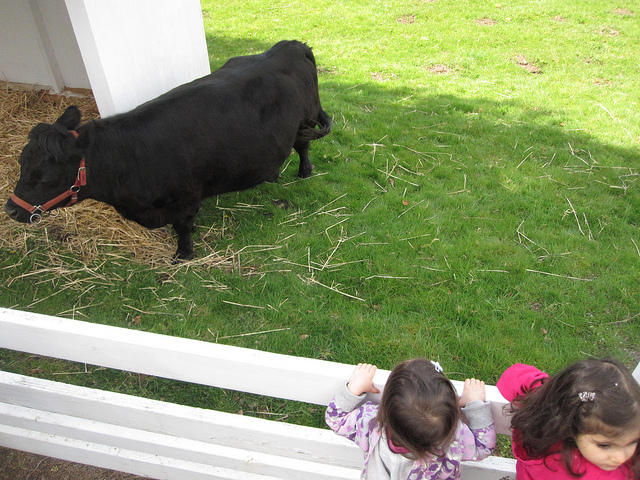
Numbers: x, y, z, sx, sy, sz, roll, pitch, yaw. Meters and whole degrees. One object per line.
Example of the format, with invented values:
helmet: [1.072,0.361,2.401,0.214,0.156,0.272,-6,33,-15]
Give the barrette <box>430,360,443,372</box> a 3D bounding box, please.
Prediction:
barrette: [0.712,0.771,3.224,0.037,0.072,0.094,-42,83,-7]
